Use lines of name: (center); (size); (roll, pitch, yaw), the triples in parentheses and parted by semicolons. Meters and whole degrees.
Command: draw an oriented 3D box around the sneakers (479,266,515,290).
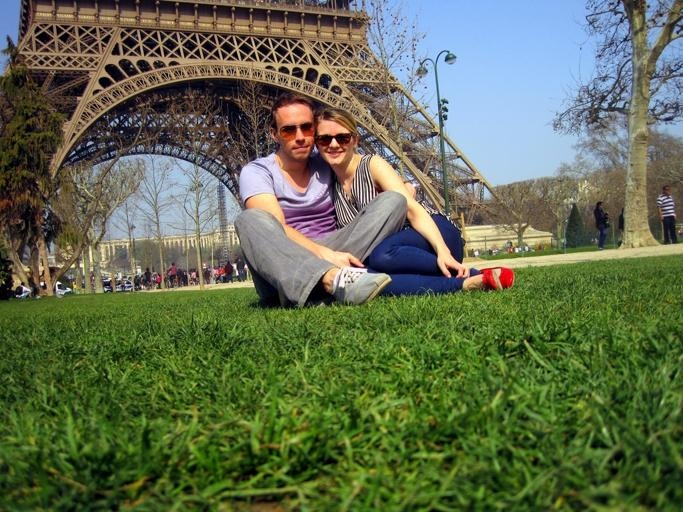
sneakers: (0.931, 0.130, 3.150); (0.098, 0.080, 0.204); (-4, 5, 0)

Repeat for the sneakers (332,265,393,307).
sneakers: (0.085, 0.162, 2.851); (0.358, 0.176, 0.150); (-11, 29, 51)

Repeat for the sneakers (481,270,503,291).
sneakers: (0.896, 0.146, 3.071); (0.085, 0.087, 0.127); (1, 2, -5)
